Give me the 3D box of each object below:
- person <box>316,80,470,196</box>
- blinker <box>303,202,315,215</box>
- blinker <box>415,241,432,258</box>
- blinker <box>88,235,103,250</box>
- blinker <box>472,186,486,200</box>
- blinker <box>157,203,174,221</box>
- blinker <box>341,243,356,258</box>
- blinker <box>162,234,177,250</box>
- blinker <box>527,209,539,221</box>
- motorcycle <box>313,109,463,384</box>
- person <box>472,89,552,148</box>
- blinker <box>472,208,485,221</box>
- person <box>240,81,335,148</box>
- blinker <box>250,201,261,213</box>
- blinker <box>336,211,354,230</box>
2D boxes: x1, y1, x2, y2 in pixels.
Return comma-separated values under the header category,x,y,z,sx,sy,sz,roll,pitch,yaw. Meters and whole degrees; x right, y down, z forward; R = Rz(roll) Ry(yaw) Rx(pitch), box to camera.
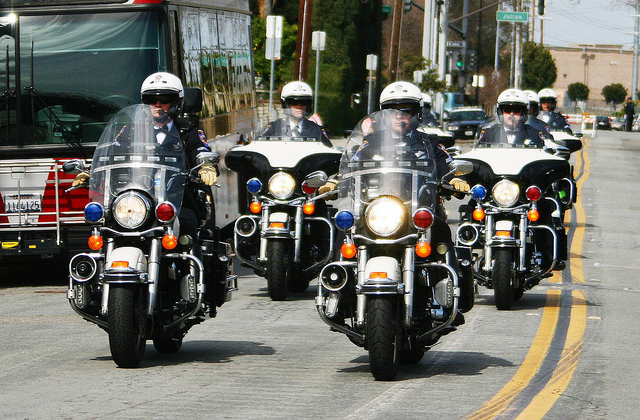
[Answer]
category,x,y,z,sx,sy,sz,roll,pitch,yaw
person,1.113,-0.892,13.450,1.165,1.408,2.565,-1,-2,7
blinker,-0.178,-0.038,15.931,0.159,0.160,0.150,-1,7,-10
blinker,1.100,0.414,11.628,0.156,0.155,0.080,-2,-5,9
blinker,-2.500,0.352,11.964,0.144,0.171,0.162,-1,7,-13
blinker,2.170,-0.248,14.792,0.151,0.196,0.232,4,8,27
blinker,-1.726,0.019,11.884,0.180,0.178,0.108,6,-1,-5
blinker,0.299,0.434,11.776,0.163,0.155,0.104,1,7,6
blinker,-1.686,0.351,12.034,0.155,0.182,0.185,1,7,6
blinker,3.046,0.067,15.464,0.145,0.170,0.152,2,7,16
motorcycle,0.748,0.393,11.889,1.561,2.979,1.163,-1,7,-8
person,2.922,-1.305,16.462,0.734,0.573,1.256,-1,-2,8
blinker,2.236,0.056,15.234,0.146,0.141,0.169,7,4,22
person,-0.353,-1.632,17.298,0.829,0.695,1.330,-10,-8,-14
blinker,-0.978,-0.056,16.173,0.137,0.136,0.187,-7,6,13
blinker,0.256,0.099,11.584,0.185,0.183,0.068,-2,1,-11
